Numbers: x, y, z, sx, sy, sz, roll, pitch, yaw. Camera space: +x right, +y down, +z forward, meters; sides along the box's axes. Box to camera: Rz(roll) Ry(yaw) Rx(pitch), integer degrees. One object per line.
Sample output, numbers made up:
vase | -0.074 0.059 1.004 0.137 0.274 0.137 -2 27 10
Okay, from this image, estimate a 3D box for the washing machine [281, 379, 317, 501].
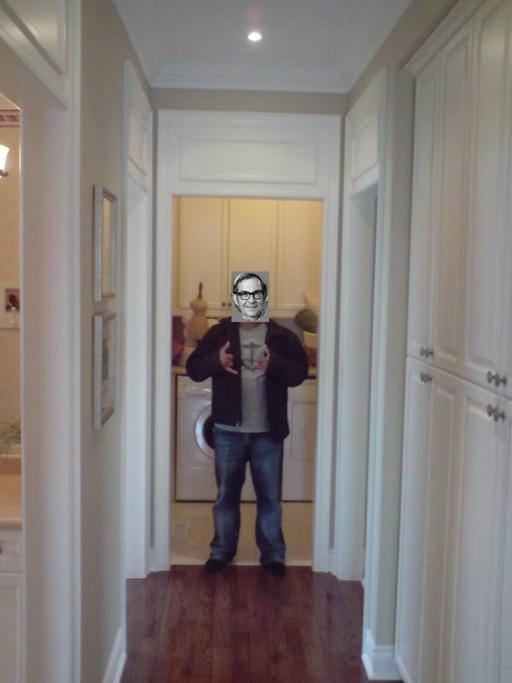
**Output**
washing machine | 0.247 0.744 3.877 0.355 0.858 0.450 0 -1 9
